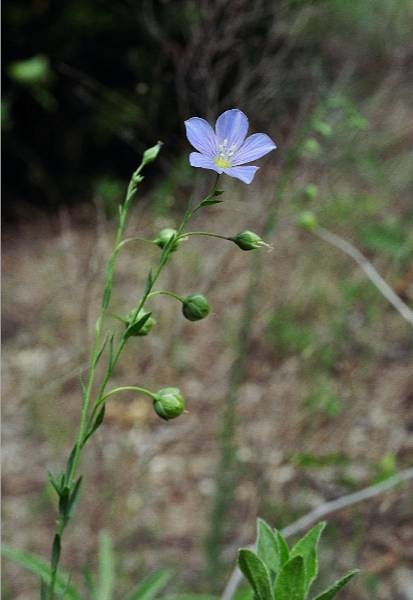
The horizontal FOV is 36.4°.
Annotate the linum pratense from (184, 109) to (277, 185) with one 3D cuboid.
[{"bbox_3d":[0.026,-0.213,0.880,0.140,0.038,0.132,12,29,0],"label":"linum pratense"}]
